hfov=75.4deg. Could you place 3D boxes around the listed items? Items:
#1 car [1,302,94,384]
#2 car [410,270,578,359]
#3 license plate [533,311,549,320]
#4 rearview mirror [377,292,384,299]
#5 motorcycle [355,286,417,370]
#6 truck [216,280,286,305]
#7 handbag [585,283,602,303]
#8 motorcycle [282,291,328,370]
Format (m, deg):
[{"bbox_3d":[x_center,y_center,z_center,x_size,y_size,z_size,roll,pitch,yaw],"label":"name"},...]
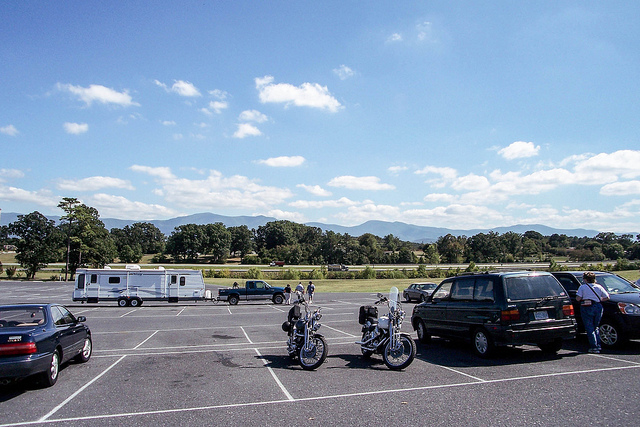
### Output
[{"bbox_3d":[-7.599,3.426,11.165,1.601,1.991,3.347,-1,-7,-9],"label":"car"},{"bbox_3d":[5.359,3.122,13.439,2.640,1.921,4.394,4,-6,-20],"label":"car"},{"bbox_3d":[6.420,2.954,12.064,0.441,0.229,0.034,0,-6,-16],"label":"license plate"},{"bbox_3d":[1.638,2.232,11.344,0.205,0.131,0.281,5,-2,-11],"label":"rearview mirror"},{"bbox_3d":[1.788,3.213,11.890,1.048,2.240,1.775,0,-7,-19],"label":"motorcycle"},{"bbox_3d":[-5.548,6.584,33.423,4.870,1.584,2.180,0,-6,-13],"label":"truck"},{"bbox_3d":[8.470,2.472,12.876,0.087,0.684,0.074,-3,-40,-25],"label":"handbag"},{"bbox_3d":[-0.419,3.350,11.958,0.874,2.045,1.406,1,-7,-27],"label":"motorcycle"}]
